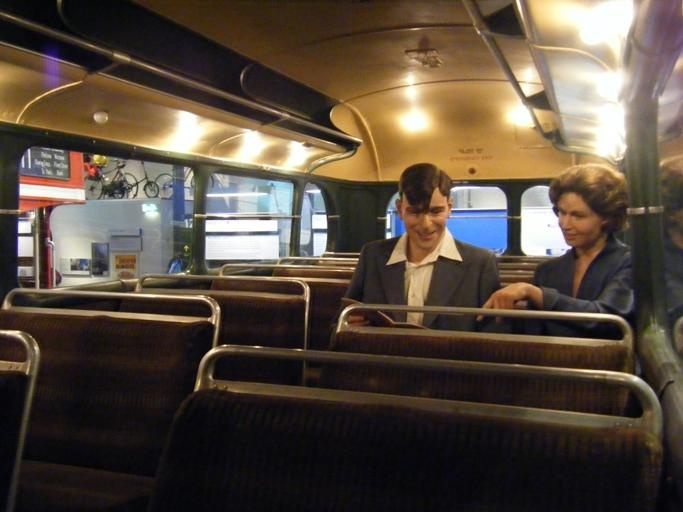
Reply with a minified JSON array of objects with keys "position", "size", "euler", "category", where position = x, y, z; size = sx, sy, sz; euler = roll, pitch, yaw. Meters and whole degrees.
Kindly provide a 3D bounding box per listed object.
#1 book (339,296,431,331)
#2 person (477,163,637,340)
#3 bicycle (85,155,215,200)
[{"position":[0.176,0.324,2.737],"size":[0.191,0.090,0.251],"euler":[22,-6,31],"category":"book"},{"position":[1.245,-0.037,3.118],"size":[1.000,1.116,0.763],"euler":[-3,4,-14],"category":"person"},{"position":[-2.282,-0.838,5.616],"size":[0.972,0.597,0.470],"euler":[-1,11,-4],"category":"bicycle"}]
